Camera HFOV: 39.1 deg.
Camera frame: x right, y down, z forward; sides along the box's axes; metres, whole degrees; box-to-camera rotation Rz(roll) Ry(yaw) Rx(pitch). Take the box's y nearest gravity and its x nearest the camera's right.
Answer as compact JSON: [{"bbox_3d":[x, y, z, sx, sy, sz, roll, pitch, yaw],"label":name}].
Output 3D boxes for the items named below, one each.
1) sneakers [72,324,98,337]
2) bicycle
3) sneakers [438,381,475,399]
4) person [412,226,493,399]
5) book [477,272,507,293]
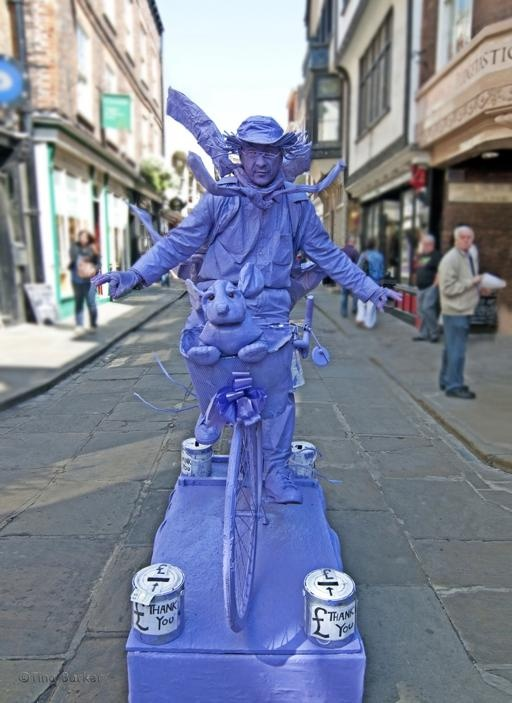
[{"bbox_3d":[-2.806,-0.326,11.749,0.248,0.162,0.580,-2,6,-22],"label":"sneakers"},{"bbox_3d":[-0.044,0.498,2.977,0.638,0.700,1.156,2,44,3],"label":"bicycle"},{"bbox_3d":[1.967,0.400,6.970,0.288,0.113,0.114,3,6,42],"label":"sneakers"},{"bbox_3d":[1.961,-0.357,6.847,0.537,1.620,0.395,16,19,38],"label":"person"},{"bbox_3d":[2.263,-0.673,6.896,0.203,0.162,0.575,8,13,19],"label":"book"}]
